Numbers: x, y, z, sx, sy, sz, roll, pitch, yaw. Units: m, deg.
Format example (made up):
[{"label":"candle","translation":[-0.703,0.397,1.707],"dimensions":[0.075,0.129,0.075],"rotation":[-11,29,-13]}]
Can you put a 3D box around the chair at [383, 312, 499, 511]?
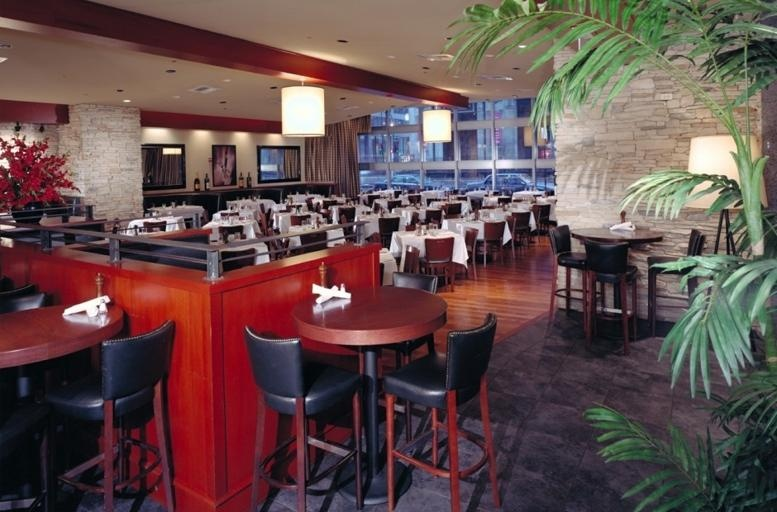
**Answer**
[{"label":"chair","translation":[0.315,0.901,3.234],"dimensions":[0.705,1.148,0.786],"rotation":[-1,8,6]}]

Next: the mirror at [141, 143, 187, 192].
[{"label":"mirror","translation":[-5.550,-2.234,13.126],"dimensions":[0.281,1.172,1.195],"rotation":[2,8,22]}]

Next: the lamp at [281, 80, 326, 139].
[{"label":"lamp","translation":[-1.031,-1.856,6.769],"dimensions":[0.707,0.673,0.658],"rotation":[-1,3,5]}]

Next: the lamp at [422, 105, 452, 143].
[{"label":"lamp","translation":[0.788,-2.262,9.145],"dimensions":[0.677,0.638,0.625],"rotation":[-2,5,-14]}]

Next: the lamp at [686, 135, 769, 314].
[{"label":"lamp","translation":[2.945,-0.537,4.707],"dimensions":[0.478,1.054,1.271],"rotation":[3,8,30]}]

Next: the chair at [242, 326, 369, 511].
[{"label":"chair","translation":[-0.484,0.938,3.147],"dimensions":[0.663,1.166,0.646],"rotation":[1,8,19]}]

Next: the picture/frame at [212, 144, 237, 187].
[{"label":"picture/frame","translation":[-4.515,-2.512,14.566],"dimensions":[0.174,1.157,0.823],"rotation":[3,9,31]}]

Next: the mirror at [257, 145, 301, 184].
[{"label":"mirror","translation":[-3.410,-2.830,16.152],"dimensions":[0.062,0.794,1.521],"rotation":[3,6,32]}]

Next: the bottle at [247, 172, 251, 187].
[{"label":"bottle","translation":[-4.046,-2.250,15.393],"dimensions":[0.048,0.419,0.203],"rotation":[2,8,21]}]

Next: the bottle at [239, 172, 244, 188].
[{"label":"bottle","translation":[-4.212,-2.191,15.141],"dimensions":[0.055,0.413,0.233],"rotation":[2,8,23]}]
